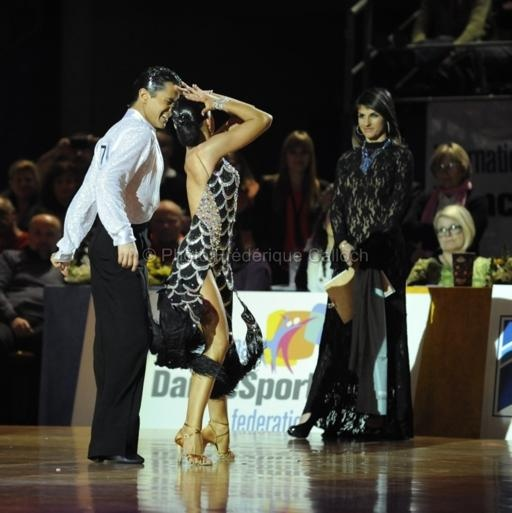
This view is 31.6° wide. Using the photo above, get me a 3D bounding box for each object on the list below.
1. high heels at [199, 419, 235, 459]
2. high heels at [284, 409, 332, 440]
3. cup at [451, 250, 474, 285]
[{"bbox_3d":[-0.164,0.833,4.129,0.212,0.181,0.094,2,3,7],"label":"high heels"},{"bbox_3d":[0.254,0.912,4.884,0.171,0.135,0.181,2,-7,-6],"label":"high heels"},{"bbox_3d":[1.166,0.080,5.100,0.120,0.187,0.088,0,-6,14],"label":"cup"}]
